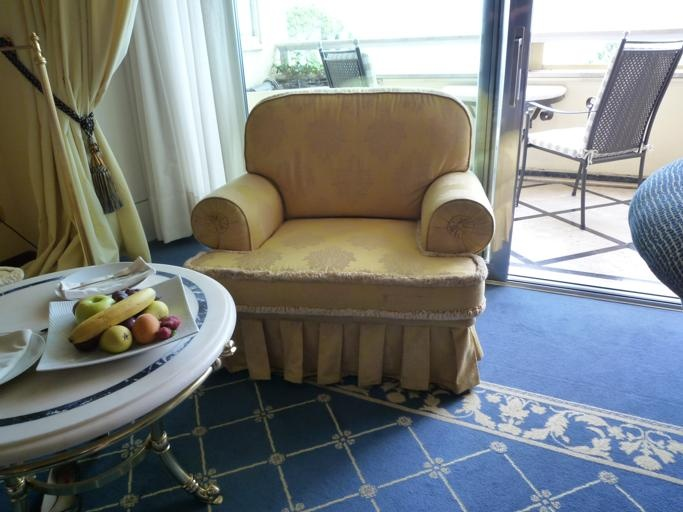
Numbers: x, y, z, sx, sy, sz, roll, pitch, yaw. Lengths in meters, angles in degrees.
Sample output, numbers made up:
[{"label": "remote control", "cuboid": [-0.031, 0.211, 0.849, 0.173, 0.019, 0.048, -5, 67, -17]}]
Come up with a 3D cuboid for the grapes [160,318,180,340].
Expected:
[{"label": "grapes", "cuboid": [-0.523, 0.219, 1.554, 0.040, 0.028, 0.066, 29, 31, -2]}]

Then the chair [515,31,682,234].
[{"label": "chair", "cuboid": [1.704, -0.899, 3.527, 0.722, 1.296, 0.744, -15, 33, -17]}]

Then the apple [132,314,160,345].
[{"label": "apple", "cuboid": [-0.591, 0.220, 1.575, 0.085, 0.109, 0.084, 2, 7, -15]}]

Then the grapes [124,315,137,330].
[{"label": "grapes", "cuboid": [-0.644, 0.204, 1.551, 0.032, 0.031, 0.033, -3, 17, -3]}]

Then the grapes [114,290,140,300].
[{"label": "grapes", "cuboid": [-0.705, 0.125, 1.657, 0.044, 0.018, 0.046, -4, 6, 11]}]

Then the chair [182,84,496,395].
[{"label": "chair", "cuboid": [-0.007, -0.168, 2.567, 1.348, 1.201, 1.188, -2, 19, -1]}]

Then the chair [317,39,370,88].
[{"label": "chair", "cuboid": [0.024, -1.218, 3.156, 0.278, 0.358, 0.294, -7, 57, 7]}]

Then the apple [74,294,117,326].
[{"label": "apple", "cuboid": [-0.767, 0.156, 1.608, 0.098, 0.096, 0.102, 2, 23, 0]}]
